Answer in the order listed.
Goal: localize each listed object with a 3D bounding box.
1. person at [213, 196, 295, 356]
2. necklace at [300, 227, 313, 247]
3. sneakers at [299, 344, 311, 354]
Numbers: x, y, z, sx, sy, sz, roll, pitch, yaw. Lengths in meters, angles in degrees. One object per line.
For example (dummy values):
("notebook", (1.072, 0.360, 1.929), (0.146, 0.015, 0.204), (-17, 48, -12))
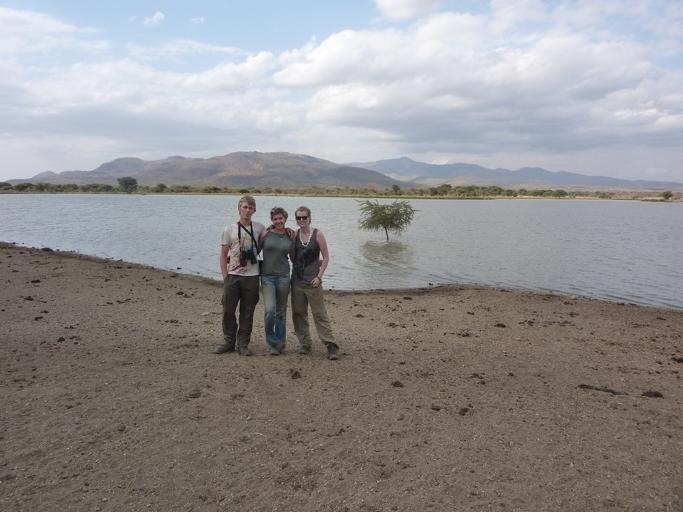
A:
("person", (-2.005, 0.390, 9.396), (0.833, 3.208, 0.660), (6, 9, 25))
("necklace", (-0.704, -0.378, 9.377), (0.269, 0.366, 0.072), (1, 6, 7))
("sneakers", (-0.754, 1.939, 9.806), (0.191, 0.152, 0.411), (1, -6, -3))
